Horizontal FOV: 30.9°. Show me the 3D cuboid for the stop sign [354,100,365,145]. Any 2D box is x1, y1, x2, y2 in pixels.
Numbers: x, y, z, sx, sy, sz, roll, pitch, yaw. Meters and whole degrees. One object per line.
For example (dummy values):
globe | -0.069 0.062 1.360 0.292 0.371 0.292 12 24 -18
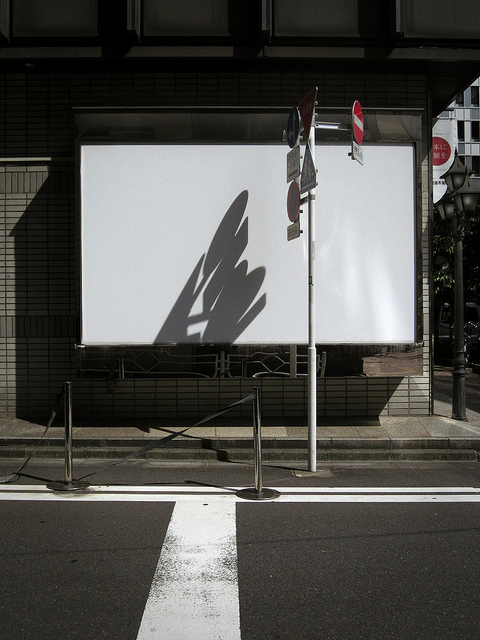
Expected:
stop sign | 1.310 -2.175 9.583 0.020 0.492 0.353 -3 4 27
